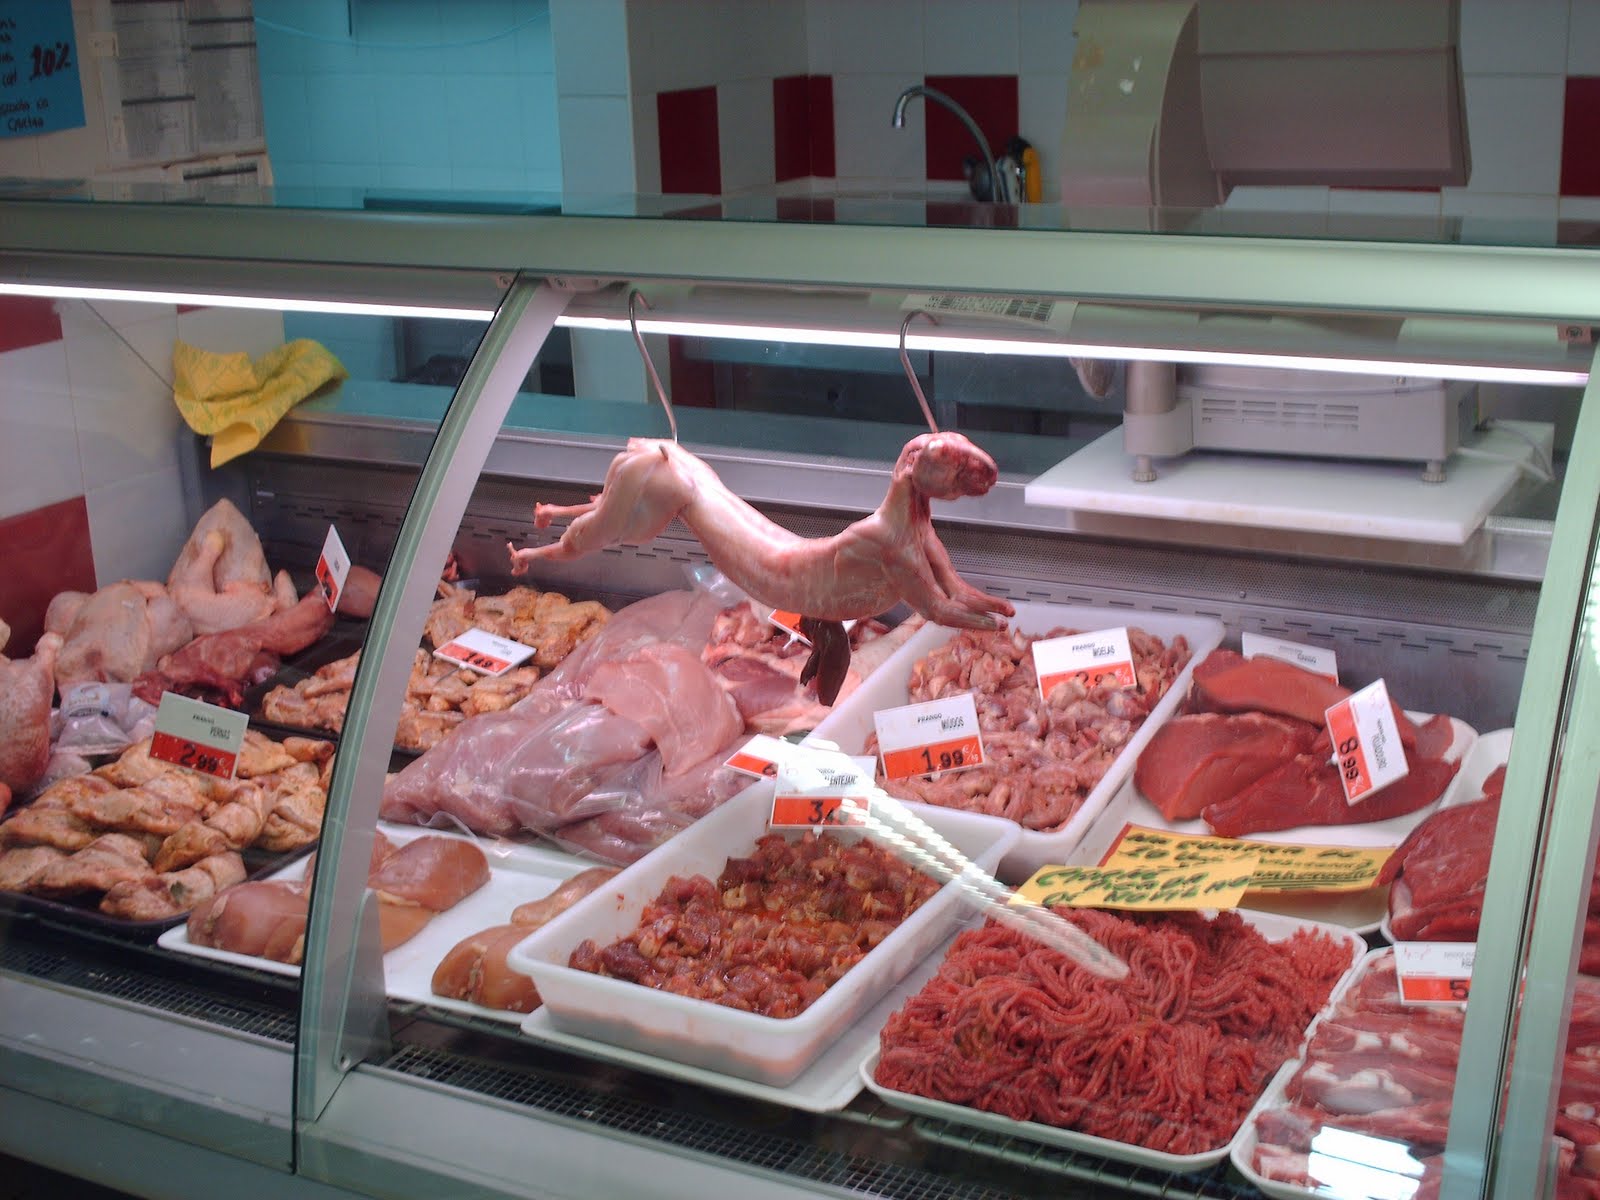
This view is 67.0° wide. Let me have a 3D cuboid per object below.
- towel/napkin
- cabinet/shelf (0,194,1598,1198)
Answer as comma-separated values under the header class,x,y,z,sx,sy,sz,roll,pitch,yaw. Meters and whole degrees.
class,x,y,z,sx,sy,sz,roll,pitch,yaw
towel/napkin,-1.062,-0.340,2.254,0.170,0.056,0.204,-15,-15,8
cabinet/shelf,-0.050,0.070,1.455,1.732,1.121,0.505,3,17,19
